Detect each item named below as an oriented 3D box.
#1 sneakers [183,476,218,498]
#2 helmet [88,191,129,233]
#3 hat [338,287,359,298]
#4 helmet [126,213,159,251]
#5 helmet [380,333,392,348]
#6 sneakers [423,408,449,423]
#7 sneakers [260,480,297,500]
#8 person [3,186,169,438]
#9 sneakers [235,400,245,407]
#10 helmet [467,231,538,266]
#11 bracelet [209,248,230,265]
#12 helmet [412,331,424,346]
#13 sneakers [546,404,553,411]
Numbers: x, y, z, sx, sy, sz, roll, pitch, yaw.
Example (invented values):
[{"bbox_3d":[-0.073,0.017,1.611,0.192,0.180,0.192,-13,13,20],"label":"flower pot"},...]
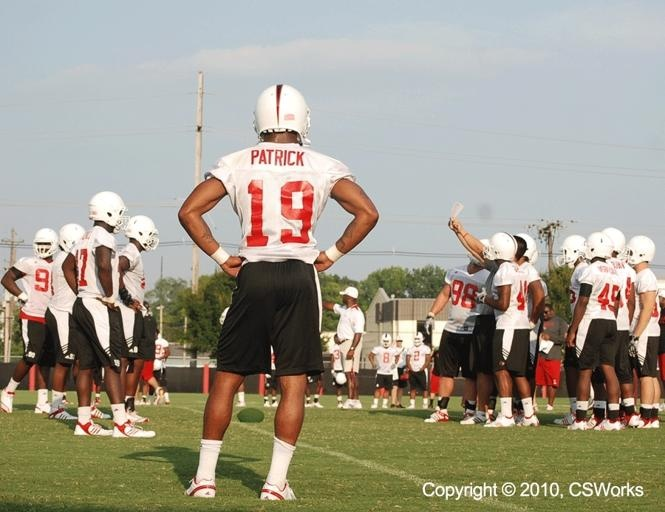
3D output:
[{"bbox_3d":[-1.310,2.300,13.543,0.309,0.197,0.190,2,-8,-3],"label":"sneakers"},{"bbox_3d":[-2.879,-0.571,17.420,0.533,0.599,0.433,1,9,-21],"label":"helmet"},{"bbox_3d":[0.276,0.634,25.774,0.346,0.189,0.274,11,-1,20],"label":"hat"},{"bbox_3d":[-2.684,-0.308,19.231,0.497,0.508,0.390,7,-4,-7],"label":"helmet"},{"bbox_3d":[1.107,1.722,27.991,0.192,0.246,0.259,1,-14,1],"label":"helmet"},{"bbox_3d":[1.549,2.333,19.825,0.436,0.213,0.157,3,-5,-8],"label":"sneakers"},{"bbox_3d":[-0.544,2.317,13.507,0.145,0.177,0.403,2,-2,37],"label":"sneakers"},{"bbox_3d":[-2.869,0.722,17.065,0.876,3.073,0.913,6,-9,-31],"label":"person"},{"bbox_3d":[-1.714,2.779,25.562,0.094,0.115,0.262,2,-7,-6],"label":"sneakers"},{"bbox_3d":[2.261,-0.067,18.232,0.498,0.406,0.365,10,-3,0],"label":"helmet"},{"bbox_3d":[-1.069,0.009,12.833,0.129,0.129,0.122,38,-11,-7],"label":"bracelet"},{"bbox_3d":[1.848,1.750,28.946,0.264,0.330,0.358,0,-11,7],"label":"helmet"},{"bbox_3d":[4.147,2.895,26.009,0.101,0.146,0.339,4,-1,13],"label":"sneakers"}]
